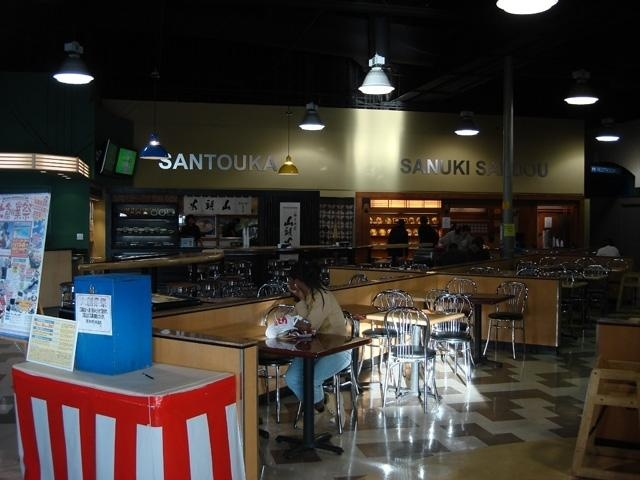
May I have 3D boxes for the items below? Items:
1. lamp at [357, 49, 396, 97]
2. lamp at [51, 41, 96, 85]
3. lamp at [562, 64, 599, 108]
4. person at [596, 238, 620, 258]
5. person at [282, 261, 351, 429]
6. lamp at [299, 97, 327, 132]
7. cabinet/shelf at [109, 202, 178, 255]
[{"bbox_3d":[0.775,-2.323,7.048,0.409,0.421,0.430,8,14,9],"label":"lamp"},{"bbox_3d":[-3.670,-2.713,7.676,0.448,0.651,0.517,-2,4,-32],"label":"lamp"},{"bbox_3d":[4.910,-2.966,9.731,0.489,0.837,1.245,2,3,27],"label":"lamp"},{"bbox_3d":[7.859,0.204,14.183,0.442,0.737,0.720,0,3,10],"label":"person"},{"bbox_3d":[-0.008,1.030,5.042,0.654,1.606,0.751,0,3,1],"label":"person"},{"bbox_3d":[-0.200,-2.836,11.647,0.446,0.606,0.548,0,3,-7],"label":"lamp"},{"bbox_3d":[-4.554,-0.344,13.131,1.296,1.177,0.441,-1,4,-11],"label":"cabinet/shelf"}]
